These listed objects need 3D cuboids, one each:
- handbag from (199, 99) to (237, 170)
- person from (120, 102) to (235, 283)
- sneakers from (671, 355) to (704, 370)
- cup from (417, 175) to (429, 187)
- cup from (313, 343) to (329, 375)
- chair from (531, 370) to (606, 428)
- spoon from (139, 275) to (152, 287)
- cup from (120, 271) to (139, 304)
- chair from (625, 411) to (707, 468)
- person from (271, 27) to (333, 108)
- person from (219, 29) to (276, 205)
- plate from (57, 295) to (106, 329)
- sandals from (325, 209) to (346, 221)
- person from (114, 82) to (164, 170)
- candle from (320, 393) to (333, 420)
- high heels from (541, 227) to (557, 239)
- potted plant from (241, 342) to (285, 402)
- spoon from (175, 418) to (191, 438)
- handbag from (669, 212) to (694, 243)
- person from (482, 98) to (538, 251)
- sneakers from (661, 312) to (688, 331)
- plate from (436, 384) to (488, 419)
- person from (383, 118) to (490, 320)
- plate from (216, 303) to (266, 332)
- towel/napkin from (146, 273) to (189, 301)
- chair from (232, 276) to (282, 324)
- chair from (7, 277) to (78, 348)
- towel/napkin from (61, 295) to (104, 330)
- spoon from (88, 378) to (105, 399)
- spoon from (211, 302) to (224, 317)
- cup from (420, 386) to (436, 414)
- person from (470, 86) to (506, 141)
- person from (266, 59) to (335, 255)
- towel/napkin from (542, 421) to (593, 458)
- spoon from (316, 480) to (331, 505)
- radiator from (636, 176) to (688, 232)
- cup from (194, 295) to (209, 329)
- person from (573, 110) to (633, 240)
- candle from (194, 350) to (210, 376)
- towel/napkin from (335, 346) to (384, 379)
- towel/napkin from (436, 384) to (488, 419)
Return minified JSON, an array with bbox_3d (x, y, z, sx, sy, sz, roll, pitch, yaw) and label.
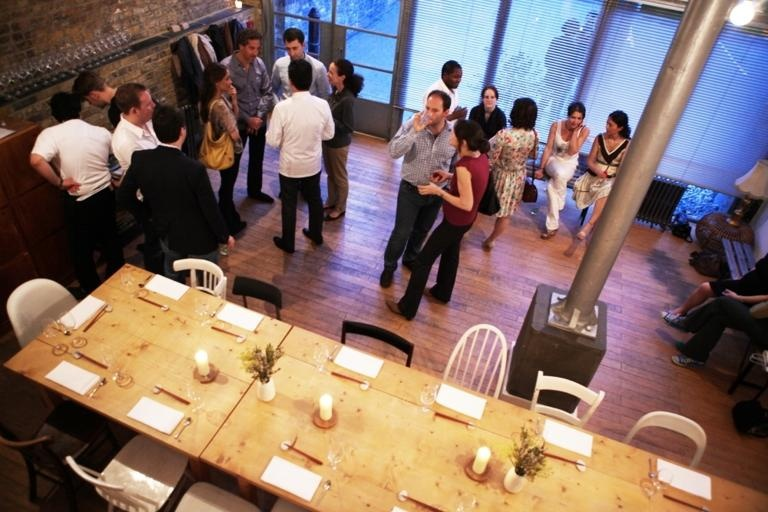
[{"bbox_3d":[-2.027,-1.446,6.684,0.389,0.830,0.360,6,12,0],"label":"handbag"},{"bbox_3d":[-2.143,-0.511,5.826,1.082,2.006,0.386,15,35,9],"label":"person"},{"bbox_3d":[3.645,1.285,6.791,0.399,0.175,0.150,12,73,10],"label":"sneakers"},{"bbox_3d":[0.461,-0.862,6.494,0.115,0.150,0.110,5,-1,0],"label":"cup"},{"bbox_3d":[-0.553,0.942,5.217,0.178,0.289,0.189,2,61,-4],"label":"cup"},{"bbox_3d":[1.778,1.412,5.477,0.424,0.749,0.491,18,73,13],"label":"chair"},{"bbox_3d":[-2.411,0.252,5.646,0.053,0.022,0.163,17,40,4],"label":"spoon"},{"bbox_3d":[-2.538,0.325,5.556,0.086,0.094,0.359,35,0,-22],"label":"cup"},{"bbox_3d":[2.764,1.828,5.494,0.441,0.644,0.480,23,68,18],"label":"chair"},{"bbox_3d":[-1.203,-2.518,7.750,0.880,1.304,0.699,9,37,9],"label":"person"},{"bbox_3d":[-1.876,-1.820,7.710,0.784,2.528,0.676,-14,43,-30],"label":"person"},{"bbox_3d":[-2.867,0.536,5.308,0.244,0.059,0.339,34,53,19],"label":"plate"},{"bbox_3d":[-0.678,-0.590,7.904,0.303,0.080,0.119,-14,76,-7],"label":"sandals"},{"bbox_3d":[-2.556,-1.318,5.769,0.361,1.104,0.449,-6,64,-27],"label":"person"},{"bbox_3d":[-0.505,1.315,4.823,0.152,0.249,0.158,-2,41,-6],"label":"candle"},{"bbox_3d":[2.364,-0.337,8.098,0.233,0.101,0.125,-17,68,-6],"label":"high heels"},{"bbox_3d":[-1.070,1.045,4.923,0.288,0.423,0.313,14,53,7],"label":"potted plant"},{"bbox_3d":[-1.719,1.469,4.771,0.058,0.049,0.199,22,66,15],"label":"spoon"},{"bbox_3d":[4.596,-0.459,8.514,0.376,0.281,0.411,-2,37,-15],"label":"handbag"},{"bbox_3d":[1.656,-1.271,7.227,0.583,1.579,0.326,11,35,5],"label":"person"},{"bbox_3d":[3.704,0.809,7.117,0.304,0.121,0.140,36,81,36],"label":"sneakers"},{"bbox_3d":[0.696,1.321,5.065,0.363,0.073,0.249,21,54,14],"label":"plate"},{"bbox_3d":[0.641,-0.370,6.641,0.911,2.680,0.898,30,56,18],"label":"person"},{"bbox_3d":[-1.409,0.589,5.435,0.446,0.081,0.216,16,36,9],"label":"plate"},{"bbox_3d":[-2.190,0.309,5.608,0.426,0.073,0.201,17,36,11],"label":"towel/napkin"},{"bbox_3d":[-1.357,0.476,5.894,0.328,0.444,0.296,14,54,0],"label":"chair"},{"bbox_3d":[-3.276,0.553,5.330,0.424,0.532,0.362,42,56,3],"label":"chair"},{"bbox_3d":[-2.870,0.541,5.319,0.245,0.077,0.332,33,54,17],"label":"towel/napkin"},{"bbox_3d":[-2.520,1.158,4.909,0.053,0.038,0.230,28,39,3],"label":"spoon"},{"bbox_3d":[-1.632,0.526,5.468,0.051,0.041,0.174,20,45,4],"label":"spoon"},{"bbox_3d":[0.391,1.285,4.960,0.134,0.235,0.152,16,51,7],"label":"cup"},{"bbox_3d":[1.382,-1.898,7.509,0.475,0.722,0.443,8,13,12],"label":"person"},{"bbox_3d":[-1.055,-1.027,6.913,0.757,2.093,0.474,1,35,-10],"label":"person"},{"bbox_3d":[1.621,1.603,4.934,0.450,0.096,0.232,16,36,10],"label":"towel/napkin"},{"bbox_3d":[-0.503,1.929,4.540,0.065,0.036,0.224,9,48,-1],"label":"spoon"},{"bbox_3d":[4.265,-0.823,8.598,0.495,0.662,0.509,23,37,20],"label":"radiator"},{"bbox_3d":[-1.771,0.555,5.415,0.116,0.244,0.118,4,59,-7],"label":"cup"},{"bbox_3d":[2.989,-1.148,7.854,0.465,1.754,0.691,20,36,16],"label":"person"},{"bbox_3d":[-1.638,0.969,5.007,0.109,0.193,0.115,15,41,21],"label":"candle"},{"bbox_3d":[-0.240,0.990,5.230,0.449,0.089,0.226,16,36,9],"label":"towel/napkin"},{"bbox_3d":[0.684,1.328,5.079,0.365,0.074,0.250,21,54,14],"label":"towel/napkin"}]
